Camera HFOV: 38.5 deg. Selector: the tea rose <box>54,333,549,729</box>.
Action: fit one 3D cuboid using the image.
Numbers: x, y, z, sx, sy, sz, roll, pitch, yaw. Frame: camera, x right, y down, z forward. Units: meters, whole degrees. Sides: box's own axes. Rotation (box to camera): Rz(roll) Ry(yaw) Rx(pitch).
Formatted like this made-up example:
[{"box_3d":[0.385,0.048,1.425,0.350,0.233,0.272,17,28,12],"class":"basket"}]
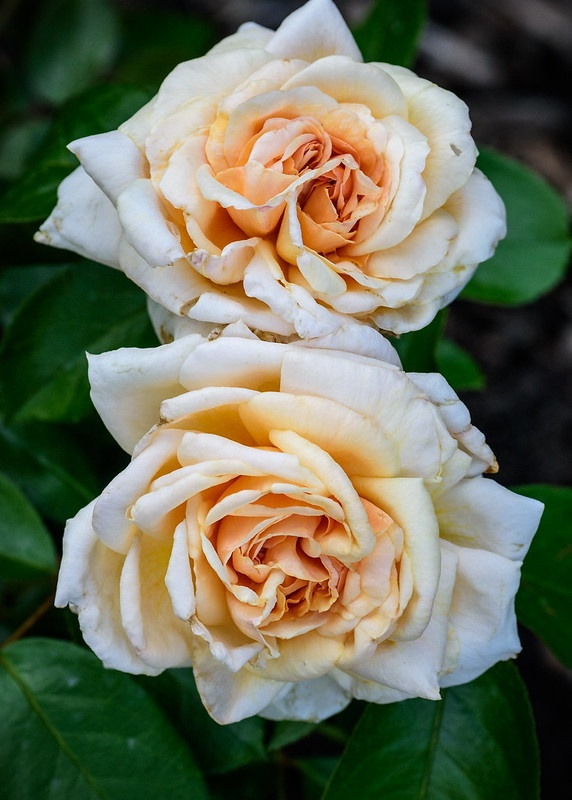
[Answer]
[{"box_3d":[0.012,0.070,0.659,0.380,0.157,0.280,-6,-64,-12],"class":"tea rose"}]
